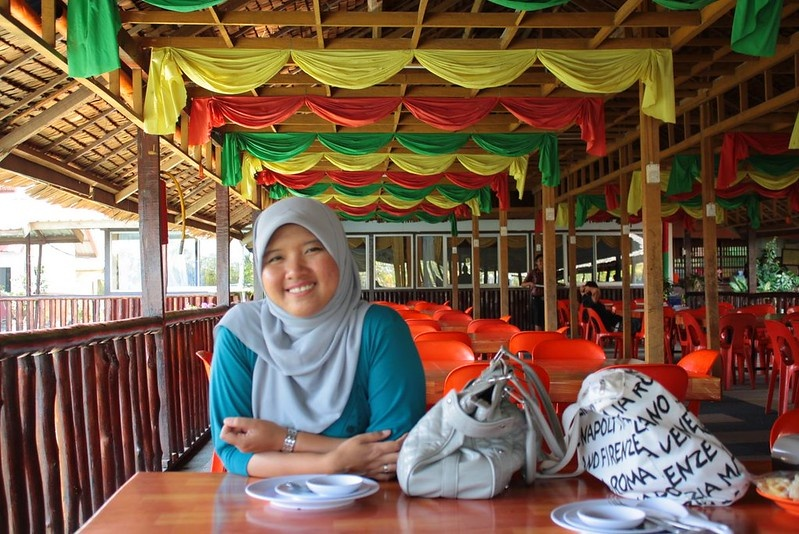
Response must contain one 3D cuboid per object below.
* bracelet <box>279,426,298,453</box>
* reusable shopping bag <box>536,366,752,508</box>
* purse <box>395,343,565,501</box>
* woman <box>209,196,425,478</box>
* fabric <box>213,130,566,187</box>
[{"bbox_3d":[-0.476,0.772,2.908,0.069,0.103,0.093,5,-42,3],"label":"bracelet"},{"bbox_3d":[1.051,0.691,2.660,0.673,0.460,0.424,1,19,43],"label":"reusable shopping bag"},{"bbox_3d":[0.374,0.679,2.811,0.813,0.566,0.549,0,9,16],"label":"purse"},{"bbox_3d":[-0.416,0.347,3.132,1.016,1.295,0.811,-4,6,-12],"label":"woman"},{"bbox_3d":[-0.144,-1.586,9.701,5.039,0.894,0.288,0,16,1],"label":"fabric"}]
